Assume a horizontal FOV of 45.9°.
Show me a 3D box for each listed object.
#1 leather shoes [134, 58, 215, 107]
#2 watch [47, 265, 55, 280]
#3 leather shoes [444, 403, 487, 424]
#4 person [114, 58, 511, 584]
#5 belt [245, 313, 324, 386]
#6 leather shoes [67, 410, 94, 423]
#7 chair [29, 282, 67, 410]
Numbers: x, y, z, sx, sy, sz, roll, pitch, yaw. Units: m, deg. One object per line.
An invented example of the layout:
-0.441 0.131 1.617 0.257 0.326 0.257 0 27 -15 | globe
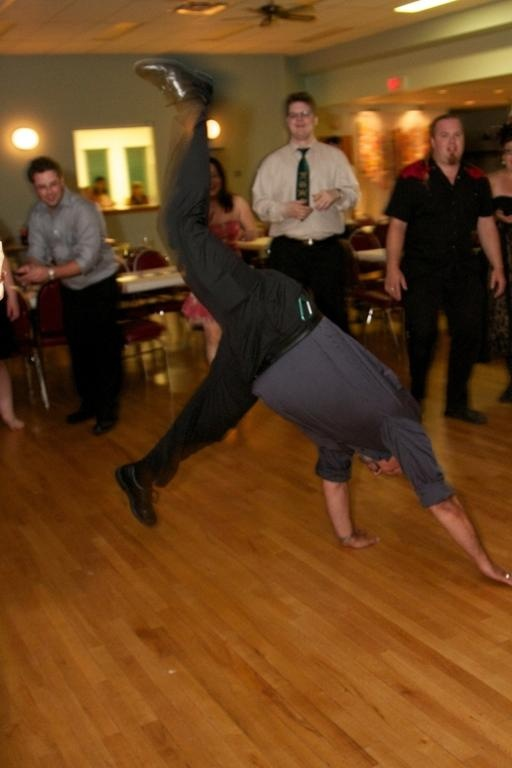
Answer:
-0.205 -0.766 1.561 0.185 0.132 0.234 -4 11 -2 | leather shoes
-1.162 -0.633 3.451 0.048 0.068 0.038 -6 11 -6 | watch
1.212 0.168 3.473 0.217 0.137 0.078 3 17 43 | leather shoes
0.023 -0.097 1.758 1.199 1.485 0.566 2 13 30 | person
0.083 -0.096 1.592 0.186 0.180 0.095 -4 11 -1 | belt
-1.162 0.219 4.014 0.073 0.057 0.158 0 0 43 | leather shoes
-1.421 -0.243 4.121 0.209 0.795 0.203 -10 17 -13 | chair
